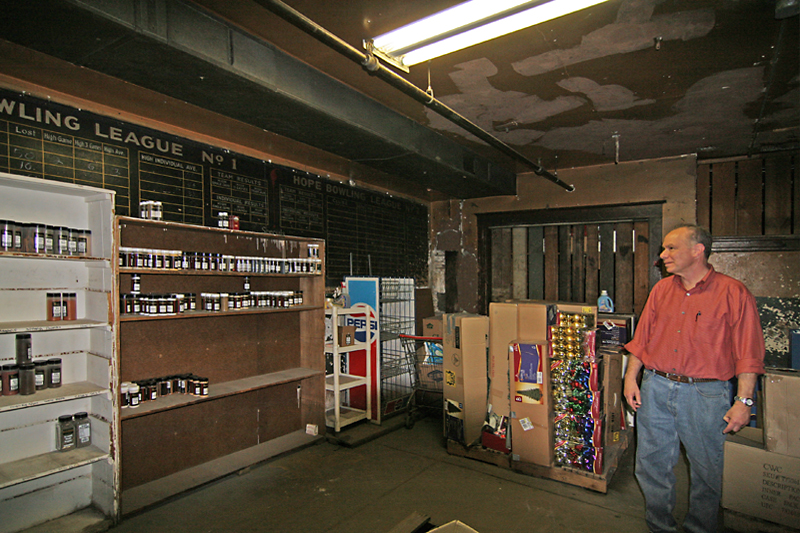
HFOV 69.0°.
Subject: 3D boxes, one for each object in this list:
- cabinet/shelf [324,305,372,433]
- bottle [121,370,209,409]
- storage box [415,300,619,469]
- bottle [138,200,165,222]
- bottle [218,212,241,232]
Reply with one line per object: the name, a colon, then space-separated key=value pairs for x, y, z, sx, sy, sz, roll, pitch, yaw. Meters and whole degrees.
cabinet/shelf: x=-0.799 y=1.385 z=8.144 sx=0.781 sy=1.661 sz=0.851 roll=-2 pitch=-3 yaw=-31
bottle: x=-2.612 y=1.368 z=6.426 sx=0.895 sy=0.266 sz=0.451 roll=-2 pitch=-3 yaw=-27
storage box: x=1.816 y=1.333 z=7.699 sx=2.626 sy=2.267 sz=1.881 roll=1 pitch=0 yaw=32
bottle: x=-2.723 y=-0.612 z=6.429 sx=0.262 sy=0.236 sz=0.261 roll=6 pitch=8 yaw=35
bottle: x=-2.053 y=-0.530 z=6.926 sx=0.146 sy=0.234 sz=0.277 roll=-4 pitch=-5 yaw=34
